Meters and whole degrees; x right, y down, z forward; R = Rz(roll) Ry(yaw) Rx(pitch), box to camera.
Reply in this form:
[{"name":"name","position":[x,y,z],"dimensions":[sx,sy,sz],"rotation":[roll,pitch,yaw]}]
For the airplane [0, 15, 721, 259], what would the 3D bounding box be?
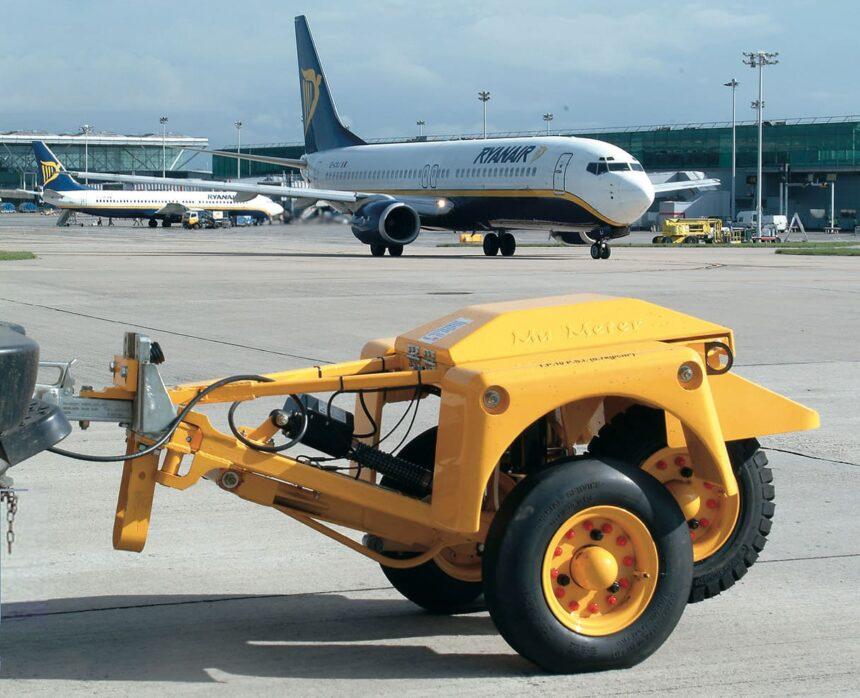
[{"name":"airplane","position":[-0.328,-6.766,45.381],"dimensions":[23.910,6.643,21.342],"rotation":[-3,6,-32]}]
